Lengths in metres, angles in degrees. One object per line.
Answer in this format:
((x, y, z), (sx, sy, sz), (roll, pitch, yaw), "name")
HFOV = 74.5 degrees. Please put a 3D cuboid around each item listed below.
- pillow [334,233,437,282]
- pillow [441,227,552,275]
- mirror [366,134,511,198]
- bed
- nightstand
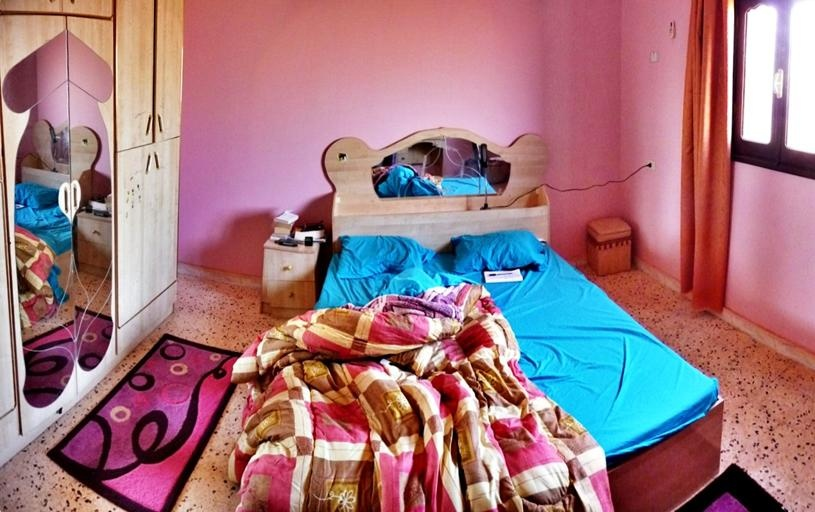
((-0.203, 0.002, 4.798), (0.825, 0.241, 0.430), (-1, 22, -1), "pillow")
((0.837, -0.040, 4.870), (0.569, 0.172, 0.492), (-4, 22, 2), "pillow")
((0.283, -0.859, 5.211), (1.078, 0.444, 0.601), (-2, 26, -3), "mirror")
((0.613, 0.155, 4.234), (3.410, 1.907, 3.269), (-7, 23, -16), "bed")
((-1.066, 0.096, 4.969), (0.582, 0.846, 0.414), (0, 21, 3), "nightstand")
